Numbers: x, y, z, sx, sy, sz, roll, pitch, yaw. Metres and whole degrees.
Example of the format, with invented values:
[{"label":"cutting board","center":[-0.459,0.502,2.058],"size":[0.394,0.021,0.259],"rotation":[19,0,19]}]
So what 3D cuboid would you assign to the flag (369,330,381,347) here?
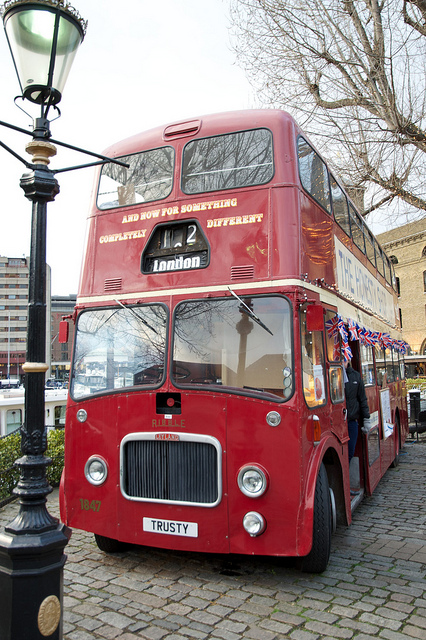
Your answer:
[{"label":"flag","center":[2.731,0.305,8.152],"size":[0.079,0.287,0.292],"rotation":[-18,-12,33]}]

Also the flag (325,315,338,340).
[{"label":"flag","center":[1.377,0.069,5.531],"size":[0.074,0.295,0.532],"rotation":[-2,-8,23]}]

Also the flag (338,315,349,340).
[{"label":"flag","center":[1.566,0.083,5.833],"size":[0.067,0.290,0.360],"rotation":[-2,-8,23]}]

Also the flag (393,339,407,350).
[{"label":"flag","center":[4.890,0.638,12.599],"size":[0.294,0.294,0.076],"rotation":[19,-51,-22]}]

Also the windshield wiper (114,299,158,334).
[{"label":"windshield wiper","center":[-0.748,-0.030,4.853],"size":[0.503,0.060,0.056],"rotation":[41,17,19]}]

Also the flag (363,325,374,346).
[{"label":"flag","center":[2.502,0.254,7.754],"size":[0.199,0.090,0.637],"rotation":[24,-11,33]}]
